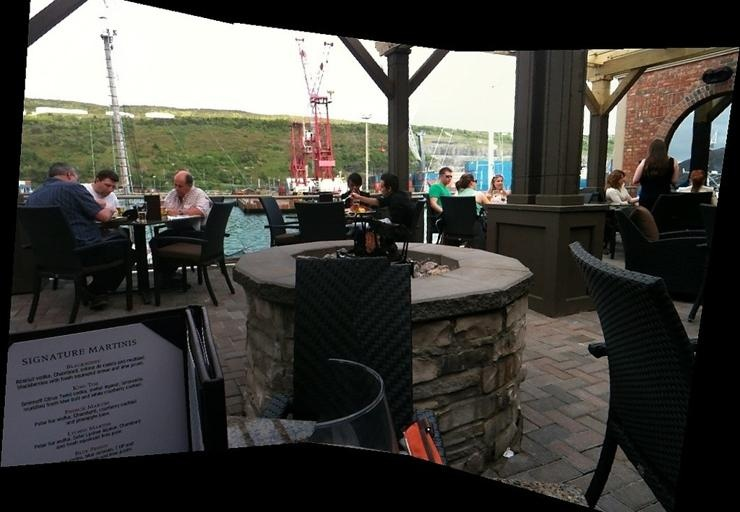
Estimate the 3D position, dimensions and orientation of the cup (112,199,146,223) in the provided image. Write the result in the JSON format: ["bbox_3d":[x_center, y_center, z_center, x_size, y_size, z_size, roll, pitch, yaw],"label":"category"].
[{"bbox_3d":[-2.393,-0.444,5.077,0.312,0.219,0.256,4,9,26],"label":"cup"}]

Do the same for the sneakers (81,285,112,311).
[{"bbox_3d":[-2.587,0.405,4.826,0.276,0.239,0.217,-5,-3,44],"label":"sneakers"}]
